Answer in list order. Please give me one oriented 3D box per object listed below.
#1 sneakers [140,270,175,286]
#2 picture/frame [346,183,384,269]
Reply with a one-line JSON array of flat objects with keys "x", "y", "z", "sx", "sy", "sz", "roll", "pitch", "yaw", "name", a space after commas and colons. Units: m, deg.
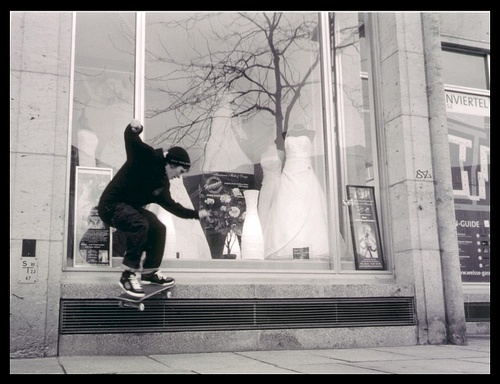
[{"x": -0.969, "y": 0.892, "z": 5.229, "sx": 0.366, "sy": 0.145, "sz": 0.130, "roll": 0, "pitch": -3, "yaw": -13, "name": "sneakers"}, {"x": 1.453, "y": 0.438, "z": 6.378, "sx": 0.421, "sy": 1.065, "sz": 0.161, "roll": 3, "pitch": -10, "yaw": -16, "name": "picture/frame"}]
